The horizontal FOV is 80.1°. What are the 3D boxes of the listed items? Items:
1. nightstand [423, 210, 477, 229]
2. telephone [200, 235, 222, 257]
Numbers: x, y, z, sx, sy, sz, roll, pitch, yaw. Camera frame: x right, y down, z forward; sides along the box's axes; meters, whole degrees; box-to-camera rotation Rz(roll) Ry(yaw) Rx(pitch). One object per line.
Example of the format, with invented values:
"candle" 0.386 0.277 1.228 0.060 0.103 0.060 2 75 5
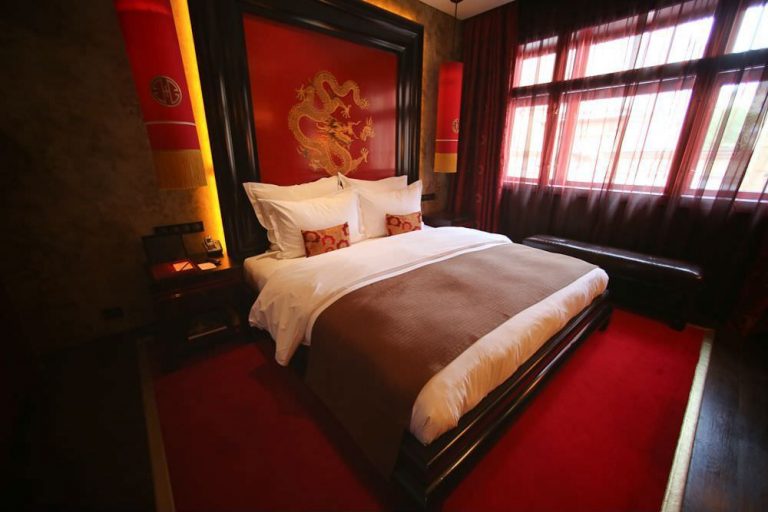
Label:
"nightstand" 0.811 -0.449 5.480 0.320 0.221 0.348 13 19 38
"telephone" -1.512 -0.092 4.005 0.136 0.063 0.191 -19 42 -34
